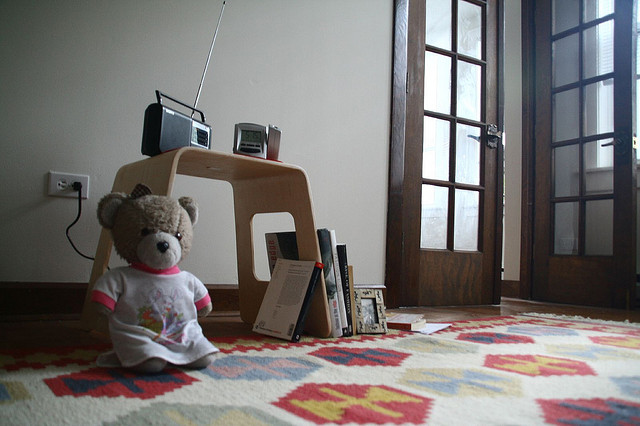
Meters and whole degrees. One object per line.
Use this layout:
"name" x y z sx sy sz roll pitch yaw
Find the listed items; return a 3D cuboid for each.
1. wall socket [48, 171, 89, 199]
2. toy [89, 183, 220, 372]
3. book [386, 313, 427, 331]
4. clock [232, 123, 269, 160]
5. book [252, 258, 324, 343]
"wall socket" -1.236 -0.138 2.089 0.125 0.106 0.041 5 -9 -27
"toy" -0.564 0.206 1.476 0.397 0.611 0.245 1 1 -22
"book" 0.445 0.542 2.186 0.206 0.042 0.279 2 1 21
"clock" -0.305 -0.315 1.900 0.163 0.169 0.085 4 -14 -13
"book" -0.116 0.371 1.894 0.083 0.326 0.304 26 -22 -37
